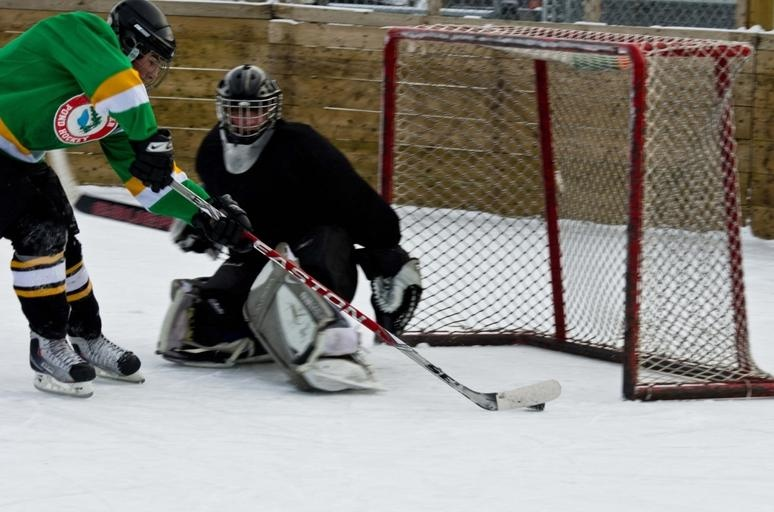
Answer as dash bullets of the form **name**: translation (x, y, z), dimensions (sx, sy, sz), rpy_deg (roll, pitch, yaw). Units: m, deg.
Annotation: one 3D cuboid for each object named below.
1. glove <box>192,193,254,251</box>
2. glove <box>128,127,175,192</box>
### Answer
- **glove**: translation (-0.683, -0.138, 3.762), dimensions (0.343, 0.241, 0.140), rpy_deg (1, 1, -4)
- **glove**: translation (-0.923, -0.373, 3.574), dimensions (0.149, 0.238, 0.072), rpy_deg (-4, 22, -19)
